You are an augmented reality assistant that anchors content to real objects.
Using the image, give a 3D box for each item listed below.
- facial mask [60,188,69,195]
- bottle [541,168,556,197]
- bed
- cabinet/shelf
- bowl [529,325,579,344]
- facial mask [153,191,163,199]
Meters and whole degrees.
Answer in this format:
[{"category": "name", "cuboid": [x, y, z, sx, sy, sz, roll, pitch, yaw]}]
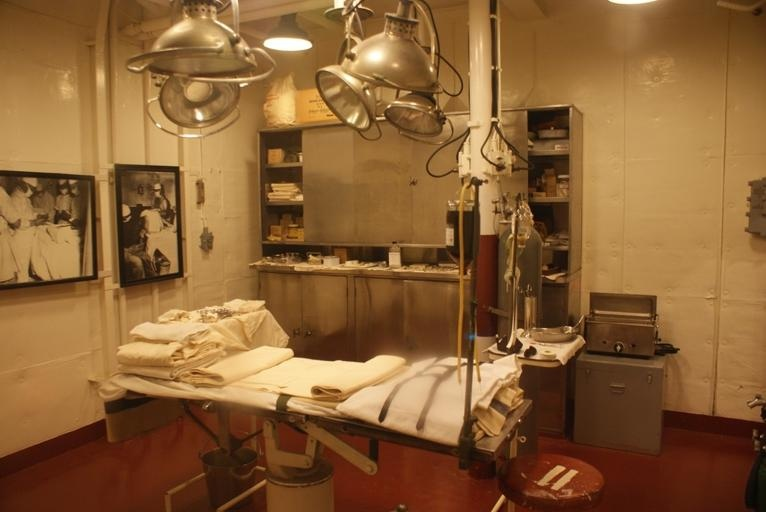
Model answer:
[{"category": "facial mask", "cuboid": [-3.067, -0.623, 5.900, 0.045, 0.040, 0.054, 0, 7, -11]}, {"category": "bottle", "cuboid": [1.719, -0.765, 6.376, 0.146, 0.302, 0.241, -1, 3, 10]}, {"category": "bed", "cuboid": [-0.271, 0.954, 4.459, 2.233, 0.760, 1.044, 2, 6, 24]}, {"category": "cabinet/shelf", "cuboid": [0.389, -0.252, 6.389, 2.996, 2.836, 0.803, 1, 1, 24]}, {"category": "bowl", "cuboid": [1.489, 0.686, 5.404, 0.418, 0.115, 0.238, -1, 3, 2]}, {"category": "facial mask", "cuboid": [-2.411, -0.660, 6.560, 0.053, 0.064, 0.058, -1, -13, -17]}]
